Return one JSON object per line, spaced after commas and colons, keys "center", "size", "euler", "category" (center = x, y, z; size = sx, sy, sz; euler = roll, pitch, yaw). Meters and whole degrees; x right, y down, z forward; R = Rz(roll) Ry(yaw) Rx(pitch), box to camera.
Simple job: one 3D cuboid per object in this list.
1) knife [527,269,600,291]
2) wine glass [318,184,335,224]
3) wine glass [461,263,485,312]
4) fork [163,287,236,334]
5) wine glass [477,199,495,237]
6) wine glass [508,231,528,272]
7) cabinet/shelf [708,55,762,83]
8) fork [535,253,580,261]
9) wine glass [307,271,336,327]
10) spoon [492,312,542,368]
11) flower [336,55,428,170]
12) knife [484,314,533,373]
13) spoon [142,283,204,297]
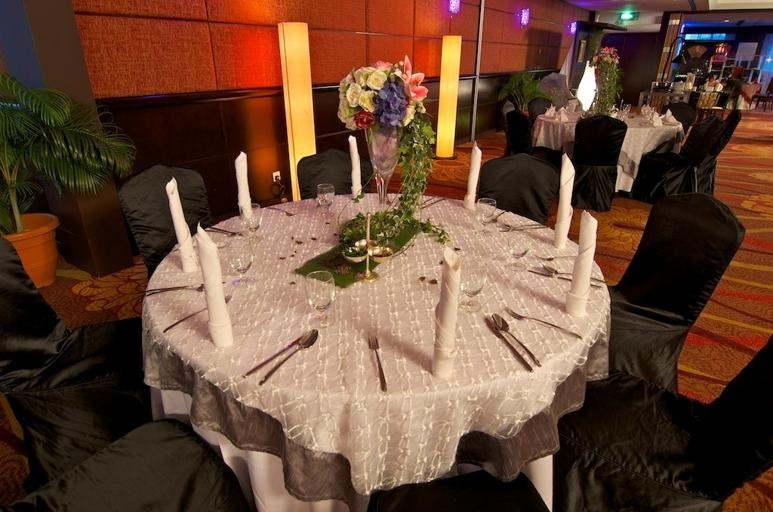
{"center": [0.991, 0.119, 2.707], "size": [0.411, 0.034, 0.088], "euler": [9, 30, 12], "category": "knife"}
{"center": [-0.406, -0.383, 3.306], "size": [0.109, 0.209, 0.351], "euler": [-3, 30, -7], "category": "wine glass"}
{"center": [0.448, 0.177, 2.538], "size": [0.122, 0.214, 0.146], "euler": [19, 42, 26], "category": "wine glass"}
{"center": [-0.926, 0.283, 2.434], "size": [0.311, 0.055, 0.043], "euler": [-37, 64, -23], "category": "fork"}
{"center": [0.631, -0.270, 3.124], "size": [0.114, 0.184, 0.223], "euler": [8, 30, 11], "category": "wine glass"}
{"center": [0.767, -0.016, 2.863], "size": [0.119, 0.187, 0.108], "euler": [-24, 40, -23], "category": "wine glass"}
{"center": [12.509, -6.818, 17.786], "size": [2.821, 0.867, 1.547], "euler": [-24, 38, -37], "category": "cabinet/shelf"}
{"center": [0.981, 0.009, 2.826], "size": [0.196, 0.025, 0.029], "euler": [4, 56, -6], "category": "fork"}
{"center": [-0.327, 0.191, 2.464], "size": [0.138, 0.234, 0.236], "euler": [-1, 29, -3], "category": "wine glass"}
{"center": [0.620, 0.388, 2.386], "size": [0.080, 0.064, 0.454], "euler": [-26, 46, 6], "category": "spoon"}
{"center": [-0.044, -0.830, 2.864], "size": [0.510, 0.687, 0.521], "euler": [-15, 37, -16], "category": "flower"}
{"center": [0.597, 0.409, 2.362], "size": [0.064, 0.054, 0.367], "euler": [-28, 36, 2], "category": "knife"}
{"center": [-1.123, 0.180, 2.613], "size": [0.270, 0.042, 0.041], "euler": [-6, 77, -11], "category": "spoon"}
